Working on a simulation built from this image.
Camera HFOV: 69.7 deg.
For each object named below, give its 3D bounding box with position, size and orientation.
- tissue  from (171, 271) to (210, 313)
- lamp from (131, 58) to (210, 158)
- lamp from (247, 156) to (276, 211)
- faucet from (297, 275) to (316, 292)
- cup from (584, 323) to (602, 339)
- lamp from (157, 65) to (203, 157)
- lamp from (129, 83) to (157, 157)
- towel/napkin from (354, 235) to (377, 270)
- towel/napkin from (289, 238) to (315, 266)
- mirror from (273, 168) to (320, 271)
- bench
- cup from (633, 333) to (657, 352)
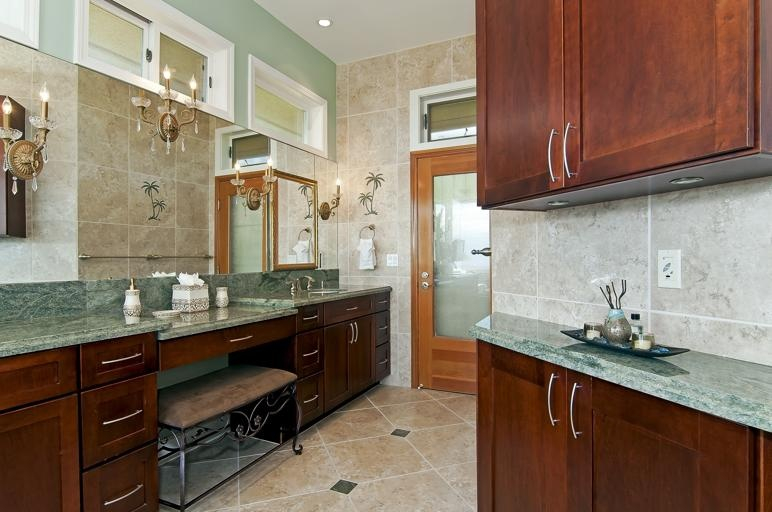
[{"bbox_3d":[-1.247,0.241,3.537,0.211,0.208,0.211,-2,-3,1],"label":"tissue "},{"bbox_3d":[-1.381,-0.910,3.483,0.507,0.494,0.361,1,8,0],"label":"lamp"},{"bbox_3d":[-0.909,-0.552,4.154,0.222,0.367,0.137,-2,-1,13],"label":"lamp"},{"bbox_3d":[-0.683,0.228,4.746,0.120,0.148,0.158,0,-1,11],"label":"faucet"},{"bbox_3d":[0.931,0.340,2.499,0.065,0.048,0.065,1,-3,0],"label":"cup"},{"bbox_3d":[-1.296,-0.894,3.430,0.178,0.447,0.314,-4,-1,20],"label":"lamp"},{"bbox_3d":[-1.489,-0.845,3.403,0.114,0.401,0.094,-4,-8,-16],"label":"lamp"},{"bbox_3d":[-0.186,-0.009,5.046,0.219,0.253,0.079,1,-1,33],"label":"towel/napkin"},{"bbox_3d":[-0.718,-0.037,4.776,0.058,0.188,0.142,7,-3,-44],"label":"towel/napkin"},{"bbox_3d":[-0.778,-0.307,4.671,0.051,0.973,0.912,-1,-2,21],"label":"mirror"},{"bbox_3d":[-1.072,0.968,3.454,0.694,0.483,1.004,-3,-4,27],"label":"bench"},{"bbox_3d":[1.080,0.365,2.329,0.071,0.049,0.071,1,-3,0],"label":"cup"}]
